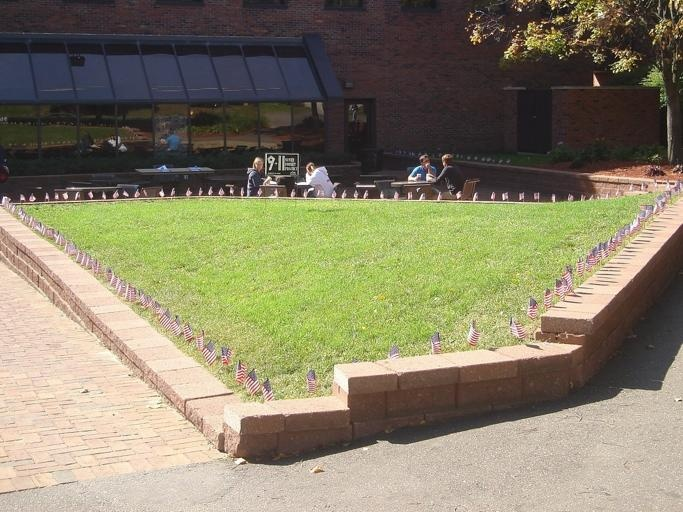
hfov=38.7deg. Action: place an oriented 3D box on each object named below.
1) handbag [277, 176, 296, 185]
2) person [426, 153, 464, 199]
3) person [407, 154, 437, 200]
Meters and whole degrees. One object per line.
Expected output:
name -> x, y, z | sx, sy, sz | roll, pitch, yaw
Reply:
handbag -> -1.527, -2.063, 26.301 | 0.325, 0.242, 0.193 | 2, 34, -3
person -> 2.599, -1.998, 24.309 | 0.696, 1.123, 0.796 | -3, 2, -40
person -> 2.157, -1.946, 25.041 | 0.615, 1.326, 0.672 | -6, -3, 12
